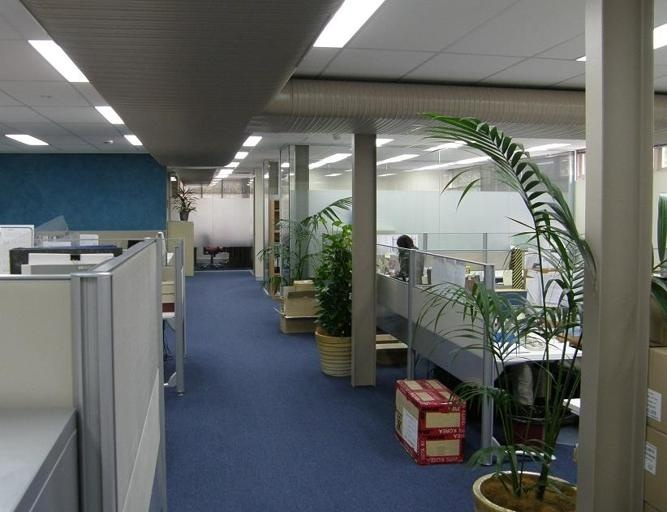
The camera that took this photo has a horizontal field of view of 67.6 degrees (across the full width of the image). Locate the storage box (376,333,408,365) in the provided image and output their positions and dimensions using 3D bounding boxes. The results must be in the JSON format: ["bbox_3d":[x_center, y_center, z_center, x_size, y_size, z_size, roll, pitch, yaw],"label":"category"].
[{"bbox_3d":[0.698,1.039,6.244,0.272,0.367,0.550,1,0,-4],"label":"storage box"}]

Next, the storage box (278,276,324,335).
[{"bbox_3d":[-0.516,0.731,7.580,0.733,0.835,0.706,0,1,-9],"label":"storage box"}]

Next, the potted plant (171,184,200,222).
[{"bbox_3d":[-3.675,-1.319,12.268,0.570,0.883,0.693,1,-5,-10],"label":"potted plant"}]

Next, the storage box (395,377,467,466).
[{"bbox_3d":[0.738,1.307,4.001,0.368,0.488,0.660,0,0,-12],"label":"storage box"}]

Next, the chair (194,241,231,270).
[{"bbox_3d":[-3.973,-0.021,16.064,0.780,0.919,0.824,-1,4,-1],"label":"chair"}]

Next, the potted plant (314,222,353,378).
[{"bbox_3d":[0.004,0.495,5.728,0.432,1.692,0.506,-2,3,1],"label":"potted plant"}]
